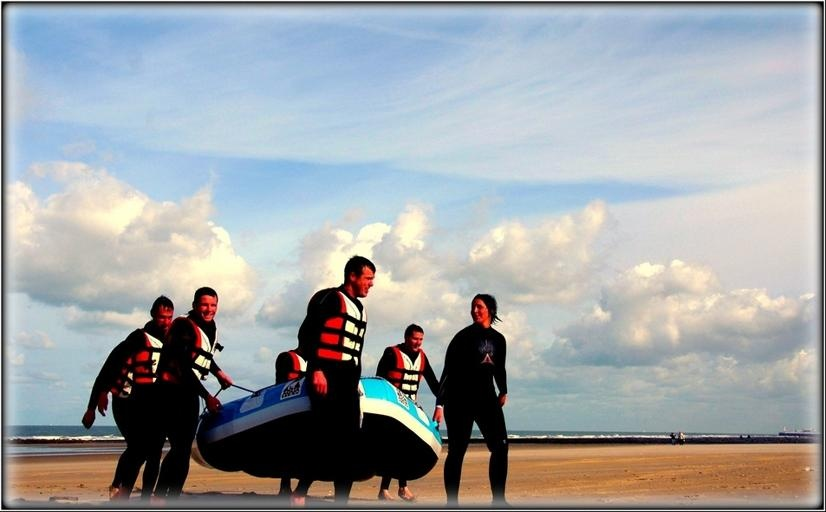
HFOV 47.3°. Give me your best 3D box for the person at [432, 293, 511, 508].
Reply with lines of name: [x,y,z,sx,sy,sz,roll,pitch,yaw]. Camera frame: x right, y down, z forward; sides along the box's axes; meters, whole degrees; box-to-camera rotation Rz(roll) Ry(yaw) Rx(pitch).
person: [1.173,2.632,17.944,1.189,3.834,0.423,-1,-7,1]
